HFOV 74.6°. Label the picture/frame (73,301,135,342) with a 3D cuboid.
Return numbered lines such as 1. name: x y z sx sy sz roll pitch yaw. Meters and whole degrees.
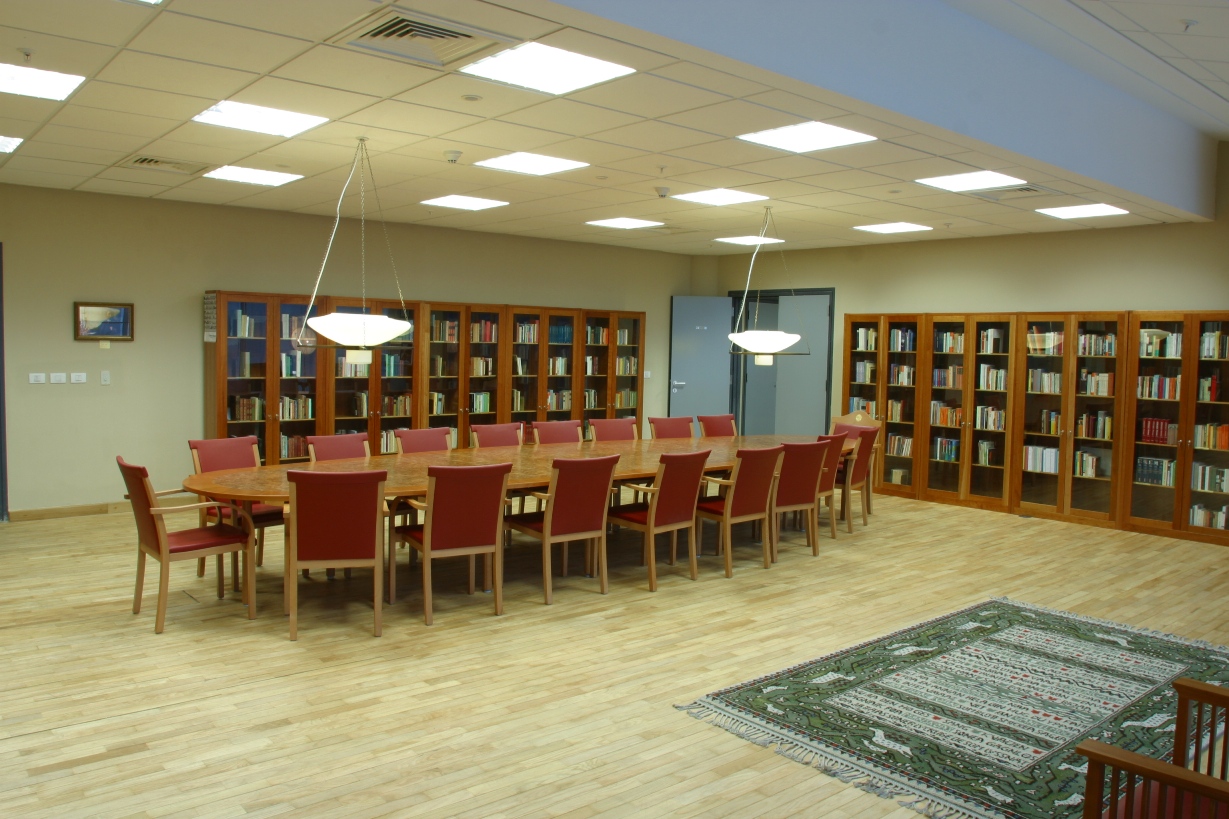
1. picture/frame: -5.795 -0.990 9.055 0.608 0.398 0.045 -1 0 -34
